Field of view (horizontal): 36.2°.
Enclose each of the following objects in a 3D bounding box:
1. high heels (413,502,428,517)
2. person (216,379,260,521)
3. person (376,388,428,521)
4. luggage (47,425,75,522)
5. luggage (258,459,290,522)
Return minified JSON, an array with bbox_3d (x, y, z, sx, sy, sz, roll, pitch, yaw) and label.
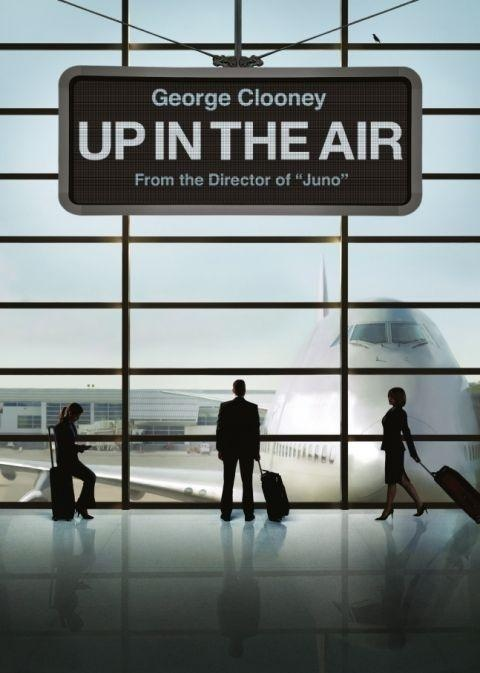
[{"bbox_3d":[1.800,1.721,7.339,0.128,0.090,0.263,1,-15,-3],"label":"high heels"},{"bbox_3d":[-0.024,1.099,7.098,0.402,1.352,0.246,0,-1,-3],"label":"person"},{"bbox_3d":[1.539,1.148,7.159,0.431,1.288,0.454,0,-1,14],"label":"person"},{"bbox_3d":[-1.688,1.329,7.051,0.232,0.890,0.273,0,-1,-13],"label":"luggage"},{"bbox_3d":[0.333,1.541,7.129,0.281,0.495,0.265,0,-1,-8],"label":"luggage"}]
